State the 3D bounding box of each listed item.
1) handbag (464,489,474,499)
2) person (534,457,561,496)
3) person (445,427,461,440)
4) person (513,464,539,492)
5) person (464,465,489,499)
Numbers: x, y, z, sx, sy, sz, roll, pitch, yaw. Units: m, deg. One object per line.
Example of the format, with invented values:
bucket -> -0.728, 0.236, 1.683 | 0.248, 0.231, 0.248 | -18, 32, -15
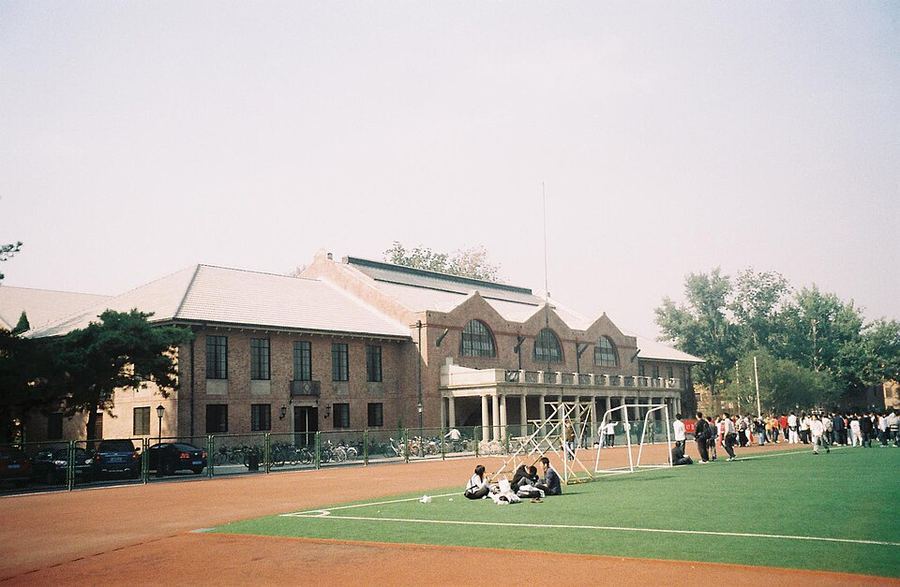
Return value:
handbag -> 0.719, 7.265, 27.412 | 0.161, 0.287, 0.466 | 10, -19, -38
person -> 3.549, 6.794, 28.296 | 1.075, 1.312, 0.941 | -3, -3, 9
person -> 0.217, 9.886, 52.963 | 1.343, 0.718, 0.675 | -1, -3, 34
person -> 2.721, 6.749, 27.852 | 0.955, 0.965, 1.819 | -3, -16, 5
person -> 0.945, 6.960, 27.830 | 1.064, 1.159, 0.874 | 0, -6, -9
